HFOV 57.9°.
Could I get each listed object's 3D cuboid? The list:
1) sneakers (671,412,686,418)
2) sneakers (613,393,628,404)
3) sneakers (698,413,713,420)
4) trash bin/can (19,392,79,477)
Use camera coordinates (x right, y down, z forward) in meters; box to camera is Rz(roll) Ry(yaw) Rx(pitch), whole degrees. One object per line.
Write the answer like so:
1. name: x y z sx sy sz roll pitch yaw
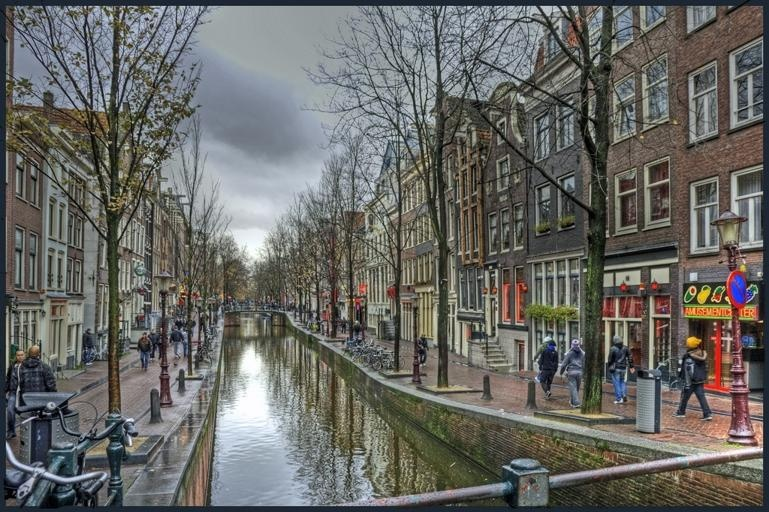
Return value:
1. sneakers: 8.397 4.561 19.891 0.273 0.131 0.115 3 -3 27
2. sneakers: 7.537 4.641 22.385 0.199 0.239 0.554 0 -4 7
3. sneakers: 8.988 4.517 19.507 0.157 0.175 0.402 0 -5 6
4. trash bin/can: -6.712 3.605 13.863 1.225 1.717 1.060 2 -14 -15
